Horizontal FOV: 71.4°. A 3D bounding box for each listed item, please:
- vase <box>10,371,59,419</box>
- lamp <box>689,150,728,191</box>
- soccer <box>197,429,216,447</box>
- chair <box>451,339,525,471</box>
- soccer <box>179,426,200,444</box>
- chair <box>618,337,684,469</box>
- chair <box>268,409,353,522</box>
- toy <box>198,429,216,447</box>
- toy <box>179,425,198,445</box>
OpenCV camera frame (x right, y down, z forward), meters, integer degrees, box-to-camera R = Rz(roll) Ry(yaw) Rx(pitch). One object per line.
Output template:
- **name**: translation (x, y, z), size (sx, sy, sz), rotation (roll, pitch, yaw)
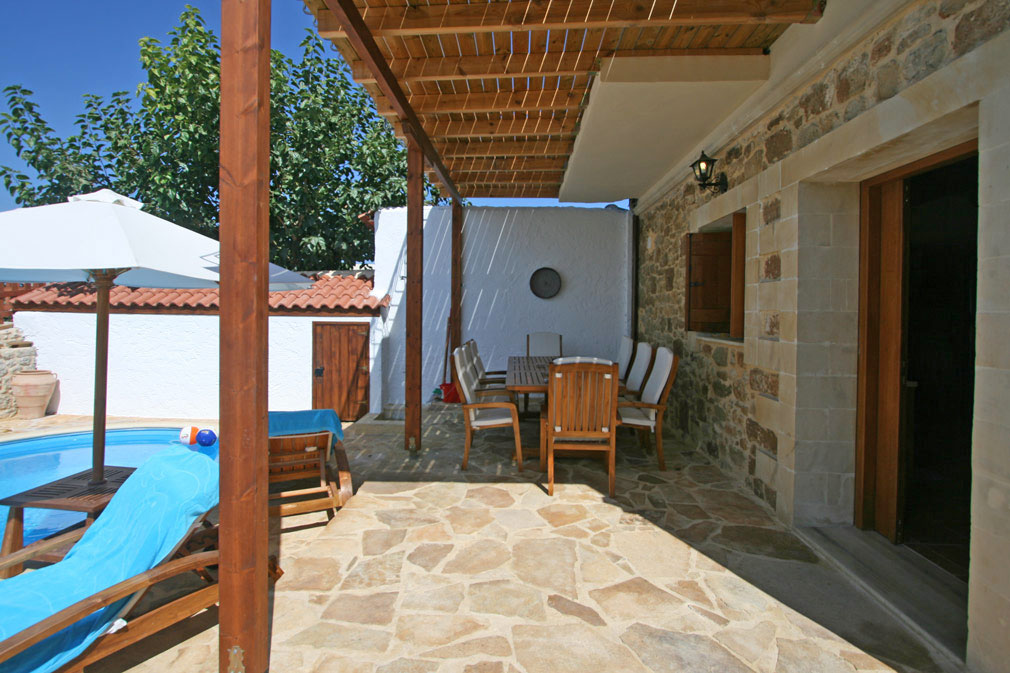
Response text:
- **vase**: translation (-7.016, 0.884, 10.740), size (0.588, 0.703, 0.619), rotation (0, -4, -9)
- **lamp**: translation (2.152, -1.739, 7.556), size (0.308, 0.489, 0.613), rotation (-1, 1, -1)
- **soccer**: translation (-2.493, 0.842, 5.909), size (0.121, 0.139, 0.166), rotation (7, -7, -14)
- **chair**: translation (-0.184, 0.729, 7.683), size (0.713, 1.251, 1.072), rotation (-1, 1, 0)
- **soccer**: translation (-2.696, 0.844, 6.066), size (0.138, 0.156, 0.380), rotation (-2, 1, -40)
- **chair**: translation (1.572, 0.724, 7.768), size (0.598, 1.218, 1.288), rotation (-1, 1, 10)
- **chair**: translation (-1.861, 1.157, 6.720), size (0.655, 0.684, 1.033), rotation (-2, 19, -15)
- **toy**: translation (-2.497, 0.842, 5.903), size (0.120, 0.138, 0.165), rotation (7, -7, -14)
- **toy**: translation (-2.725, 0.835, 6.108), size (0.139, 0.181, 0.189), rotation (8, 13, -4)
